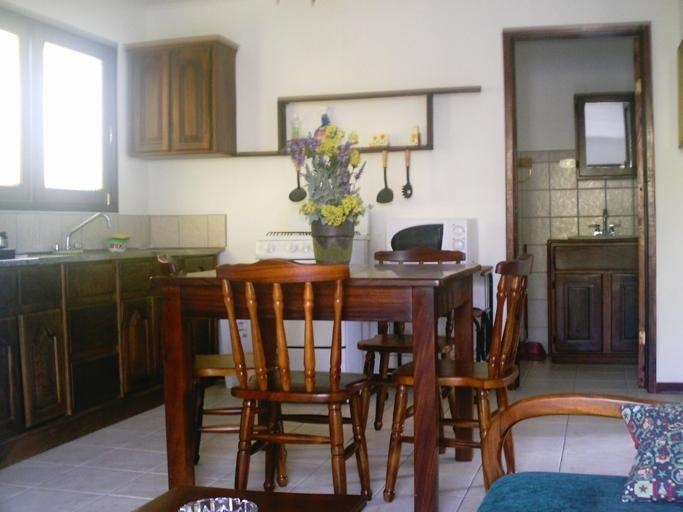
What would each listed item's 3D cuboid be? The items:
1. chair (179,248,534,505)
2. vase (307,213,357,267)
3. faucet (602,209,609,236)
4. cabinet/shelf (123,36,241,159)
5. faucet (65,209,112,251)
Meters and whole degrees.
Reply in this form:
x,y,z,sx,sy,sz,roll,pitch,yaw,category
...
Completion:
x,y,z,sx,sy,sz,roll,pitch,yaw,category
0.079,0.535,3.027,0.988,0.986,1.523,-1,-1,17,chair
-0.019,-0.072,3.172,0.192,0.231,0.199,-3,0,25,vase
2.574,-0.338,5.841,0.063,0.257,0.083,1,6,21,faucet
-1.326,-1.304,5.019,0.901,0.952,0.399,1,3,18,cabinet/shelf
-1.901,-0.202,4.614,0.225,0.263,0.513,0,6,11,faucet
